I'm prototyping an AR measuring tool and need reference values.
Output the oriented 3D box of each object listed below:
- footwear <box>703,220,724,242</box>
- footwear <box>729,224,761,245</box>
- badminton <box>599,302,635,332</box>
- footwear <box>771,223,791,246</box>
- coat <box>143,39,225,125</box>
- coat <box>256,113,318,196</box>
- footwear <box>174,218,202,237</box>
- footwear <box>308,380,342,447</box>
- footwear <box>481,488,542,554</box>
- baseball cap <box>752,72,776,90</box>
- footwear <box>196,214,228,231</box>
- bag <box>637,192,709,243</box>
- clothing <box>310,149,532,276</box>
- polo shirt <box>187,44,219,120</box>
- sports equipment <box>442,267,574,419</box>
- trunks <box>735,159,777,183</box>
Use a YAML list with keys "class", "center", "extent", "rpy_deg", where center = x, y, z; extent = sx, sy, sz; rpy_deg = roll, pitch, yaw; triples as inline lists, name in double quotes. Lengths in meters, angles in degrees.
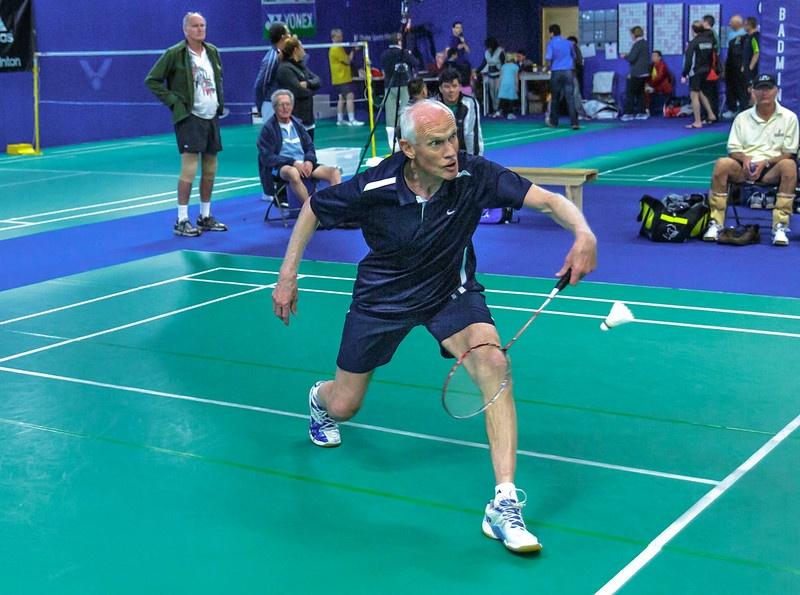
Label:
- class: "footwear"
  center: [3.848, -0.807, 8.043]
  extent: [0.134, 0.176, 0.395]
  rpy_deg: [3, 18, 25]
- class: "footwear"
  center: [4.157, -0.755, 7.870]
  extent: [0.408, 0.214, 0.216]
  rpy_deg: [-3, 16, -13]
- class: "badminton"
  center: [1.413, 0.134, 4.269]
  extent: [0.130, 0.152, 0.144]
  rpy_deg: [50, 8, 33]
- class: "footwear"
  center: [4.503, -0.733, 7.708]
  extent: [0.133, 0.175, 0.388]
  rpy_deg: [0, 4, 14]
- class: "coat"
  center: [-2.818, -2.965, 8.868]
  extent: [0.590, 1.025, 1.100]
  rpy_deg: [14, 25, 35]
- class: "coat"
  center: [-1.676, -2.136, 9.624]
  extent: [0.850, 1.236, 0.786]
  rpy_deg: [-11, 17, -38]
- class: "footwear"
  center: [-2.952, -0.982, 9.165]
  extent: [0.402, 0.228, 0.204]
  rpy_deg: [6, 13, 24]
- class: "footwear"
  center: [-0.444, 0.640, 3.806]
  extent: [0.148, 0.433, 0.180]
  rpy_deg: [-6, -1, -22]
- class: "footwear"
  center: [0.485, 0.961, 2.871]
  extent: [0.120, 0.254, 0.358]
  rpy_deg: [10, -4, -24]
- class: "baseball cap"
  center: [4.394, -2.611, 7.902]
  extent: [0.245, 0.162, 0.245]
  rpy_deg: [7, 17, 20]
- class: "footwear"
  center: [-2.709, -1.089, 9.452]
  extent: [0.471, 0.238, 0.201]
  rpy_deg: [2, 14, 7]
- class: "bag"
  center: [3.477, -1.017, 8.295]
  extent: [0.803, 0.556, 0.630]
  rpy_deg: [7, 17, 22]
- class: "clothing"
  center: [0.106, -0.405, 3.384]
  extent: [1.114, 0.748, 0.444]
  rpy_deg: [-2, 36, -2]
- class: "polo shirt"
  center: [-2.639, -2.874, 8.774]
  extent: [0.254, 0.842, 0.418]
  rpy_deg: [1, 2, 42]
- class: "sports equipment"
  center: [0.432, 0.291, 3.024]
  extent: [0.762, 0.716, 0.369]
  rpy_deg: [-13, 20, -42]
- class: "trunks"
  center: [4.300, -1.514, 7.934]
  extent: [0.314, 0.255, 0.115]
  rpy_deg: [11, -8, 25]
